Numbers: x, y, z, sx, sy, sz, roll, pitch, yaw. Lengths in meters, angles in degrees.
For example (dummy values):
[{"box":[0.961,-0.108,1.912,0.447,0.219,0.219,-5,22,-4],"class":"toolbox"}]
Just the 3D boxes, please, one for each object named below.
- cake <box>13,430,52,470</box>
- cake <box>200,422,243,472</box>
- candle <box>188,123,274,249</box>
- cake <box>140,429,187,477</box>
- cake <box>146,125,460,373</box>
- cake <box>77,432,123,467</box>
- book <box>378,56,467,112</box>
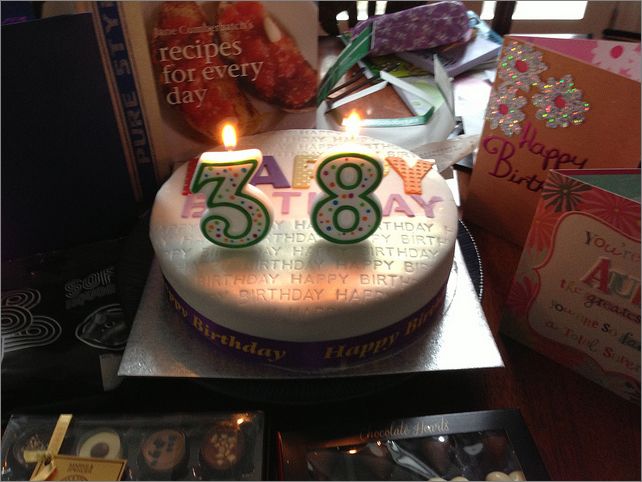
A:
[{"box":[-0.520,0.370,0.834,0.061,0.027,0.064,9,37,14],"class":"cake"},{"box":[-0.176,0.372,0.839,0.079,0.028,0.078,5,36,9],"class":"cake"},{"box":[-0.174,-0.080,0.908,0.142,0.160,0.114,-12,38,-14],"class":"candle"},{"box":[-0.282,0.384,0.839,0.081,0.031,0.080,-7,36,-7],"class":"cake"},{"box":[-0.029,-0.012,1.105,0.672,0.160,0.666,8,34,8],"class":"cake"},{"box":[-0.396,0.370,0.847,0.081,0.015,0.046,0,36,2],"class":"cake"},{"box":[0.307,-0.523,1.649,0.048,0.208,0.194,-31,80,-26],"class":"book"}]
